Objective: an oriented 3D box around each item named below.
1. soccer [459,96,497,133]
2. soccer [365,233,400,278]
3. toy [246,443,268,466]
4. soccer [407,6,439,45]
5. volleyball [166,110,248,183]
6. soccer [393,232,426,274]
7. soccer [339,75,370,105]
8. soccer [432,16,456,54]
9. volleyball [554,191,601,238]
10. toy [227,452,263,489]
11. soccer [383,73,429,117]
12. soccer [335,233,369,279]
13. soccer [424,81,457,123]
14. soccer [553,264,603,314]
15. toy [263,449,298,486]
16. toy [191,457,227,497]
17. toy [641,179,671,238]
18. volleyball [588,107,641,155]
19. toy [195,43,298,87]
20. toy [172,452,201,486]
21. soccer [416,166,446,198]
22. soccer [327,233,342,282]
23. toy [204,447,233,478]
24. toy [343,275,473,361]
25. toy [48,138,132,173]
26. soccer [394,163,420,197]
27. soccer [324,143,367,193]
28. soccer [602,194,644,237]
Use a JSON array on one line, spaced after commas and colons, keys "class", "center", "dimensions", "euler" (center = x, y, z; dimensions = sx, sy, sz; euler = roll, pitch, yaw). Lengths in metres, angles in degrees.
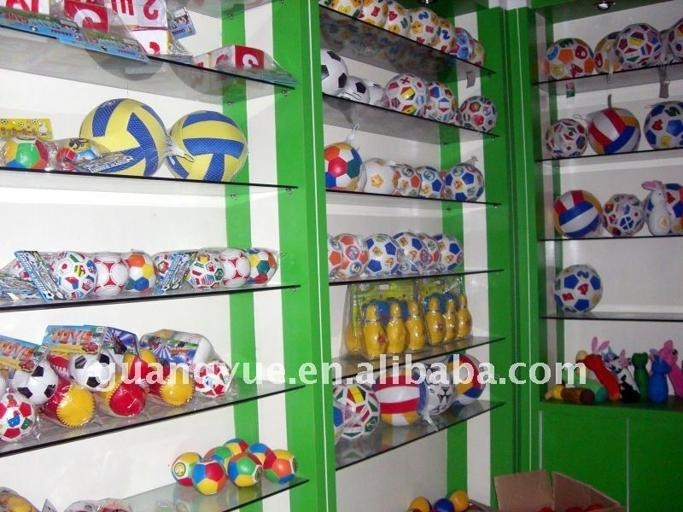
[{"class": "soccer", "center": [0.706, -0.726, 2.702], "dimensions": [0.202, 0.180, 0.154], "euler": [-3, -1, 7]}, {"class": "soccer", "center": [0.175, 0.005, 2.386], "dimensions": [0.159, 0.207, 0.160], "euler": [1, -6, -22]}, {"class": "toy", "center": [-0.309, 0.720, 1.907], "dimensions": [0.052, 0.070, 0.057], "euler": [-2, 13, -1]}, {"class": "soccer", "center": [0.362, -1.034, 2.456], "dimensions": [0.150, 0.202, 0.156], "euler": [0, 5, 6]}, {"class": "volleyball", "center": [-0.472, -0.384, 1.830], "dimensions": [0.245, 0.253, 0.245], "euler": [14, 15, 39]}, {"class": "soccer", "center": [0.325, -0.013, 2.519], "dimensions": [0.156, 0.212, 0.171], "euler": [-13, 15, -8]}, {"class": "soccer", "center": [0.056, -0.699, 2.240], "dimensions": [0.116, 0.132, 0.148], "euler": [5, 23, 10]}, {"class": "soccer", "center": [0.480, -1.026, 2.465], "dimensions": [0.137, 0.183, 0.147], "euler": [-1, 25, -1]}, {"class": "volleyball", "center": [1.262, -0.220, 2.821], "dimensions": [0.231, 0.269, 0.106], "euler": [-4, -1, 25]}, {"class": "toy", "center": [-0.341, 0.744, 1.825], "dimensions": [0.110, 0.112, 0.106], "euler": [20, -30, -27]}, {"class": "soccer", "center": [0.311, -0.736, 2.415], "dimensions": [0.210, 0.167, 0.091], "euler": [-3, -1, -21]}, {"class": "soccer", "center": [0.044, -0.001, 2.185], "dimensions": [0.150, 0.199, 0.158], "euler": [-1, 4, -8]}, {"class": "soccer", "center": [0.491, -0.743, 2.563], "dimensions": [0.081, 0.179, 0.268], "euler": [-4, -1, 44]}, {"class": "soccer", "center": [1.263, 0.145, 2.943], "dimensions": [0.239, 0.316, 0.249], "euler": [9, 12, 13]}, {"class": "toy", "center": [-0.213, 0.739, 1.856], "dimensions": [0.098, 0.132, 0.102], "euler": [-3, -3, -5]}, {"class": "toy", "center": [-0.452, 0.759, 1.866], "dimensions": [0.103, 0.134, 0.112], "euler": [2, -2, 18]}, {"class": "toy", "center": [1.592, -0.236, 2.667], "dimensions": [0.102, 0.308, 0.115], "euler": [-3, -1, 31]}, {"class": "volleyball", "center": [1.424, -0.638, 2.774], "dimensions": [0.233, 0.264, 0.249], "euler": [7, 10, 33]}, {"class": "toy", "center": [-0.335, -0.660, 1.837], "dimensions": [0.348, 0.101, 0.176], "euler": [-3, -1, -13]}, {"class": "toy", "center": [-0.544, 0.740, 1.884], "dimensions": [0.100, 0.129, 0.106], "euler": [7, -2, -11]}, {"class": "soccer", "center": [0.435, -0.359, 2.600], "dimensions": [0.240, 0.148, 0.093], "euler": [-3, -1, -42]}, {"class": "soccer", "center": [-0.026, 0.011, 2.123], "dimensions": [0.052, 0.144, 0.182], "euler": [-3, -1, 1]}, {"class": "toy", "center": [-0.442, 0.724, 1.878], "dimensions": [0.075, 0.098, 0.075], "euler": [0, 1, 34]}, {"class": "toy", "center": [0.279, 0.264, 2.465], "dimensions": [0.566, 0.369, 0.351], "euler": [-9, 13, -40]}, {"class": "toy", "center": [-0.738, -0.291, 1.549], "dimensions": [0.221, 0.101, 0.084], "euler": [-3, -1, -26]}, {"class": "soccer", "center": [0.312, -0.351, 2.449], "dimensions": [0.057, 0.134, 0.214], "euler": [-4, -1, 35]}, {"class": "soccer", "center": [0.020, -0.356, 2.133], "dimensions": [0.224, 0.165, 0.077], "euler": [-2, -1, -44]}, {"class": "soccer", "center": [1.473, -0.207, 2.759], "dimensions": [0.173, 0.245, 0.075], "euler": [-3, -1, 21]}]
